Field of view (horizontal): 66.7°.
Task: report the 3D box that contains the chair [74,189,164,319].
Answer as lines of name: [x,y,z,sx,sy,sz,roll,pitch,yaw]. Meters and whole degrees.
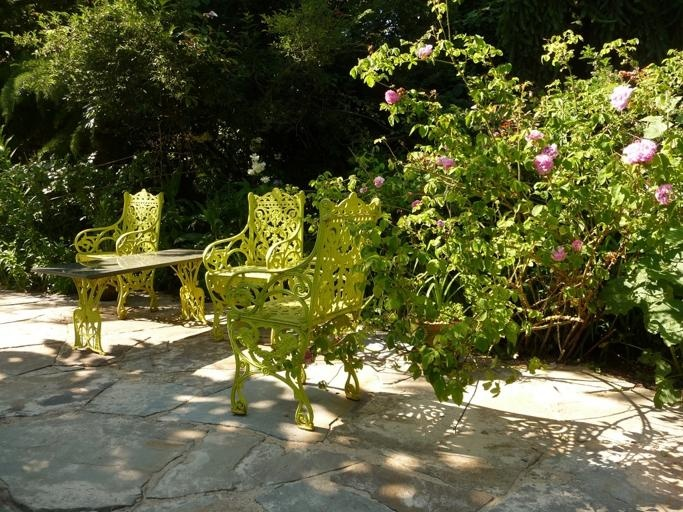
chair: [-2.398,-0.049,5.605,0.974,1.152,0.922,1,15,4]

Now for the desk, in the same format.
desk: [-1.665,0.398,4.498,1.370,0.542,0.569,-8,-25,1]

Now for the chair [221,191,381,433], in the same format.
chair: [-0.264,0.323,3.385,0.961,1.240,0.938,-3,0,40]
